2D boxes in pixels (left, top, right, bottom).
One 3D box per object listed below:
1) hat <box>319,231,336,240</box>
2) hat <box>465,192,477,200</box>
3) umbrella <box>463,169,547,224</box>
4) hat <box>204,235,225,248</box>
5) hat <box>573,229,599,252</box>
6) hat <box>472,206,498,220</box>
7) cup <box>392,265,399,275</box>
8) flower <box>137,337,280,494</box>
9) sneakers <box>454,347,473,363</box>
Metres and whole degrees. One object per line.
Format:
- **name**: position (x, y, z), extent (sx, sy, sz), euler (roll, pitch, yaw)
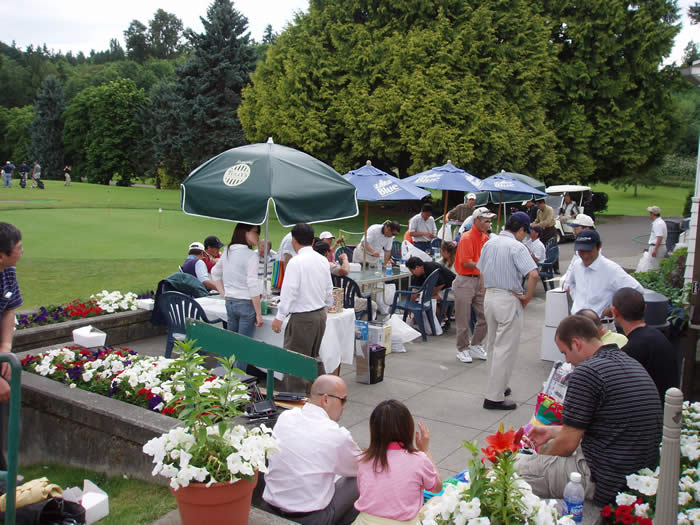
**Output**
- **hat**: position (-0.466, -0.506, 11.511), extent (0.287, 0.171, 0.407), euler (-2, 2, -27)
- **hat**: position (3.073, -1.707, 16.100), extent (0.337, 0.196, 0.483), euler (-1, 1, -8)
- **umbrella**: position (4.336, -1.457, 17.522), extent (2.093, 1.630, 2.000), euler (13, 25, 37)
- **hat**: position (-2.446, -0.381, 11.278), extent (0.281, 0.194, 0.208), euler (-1, 2, 37)
- **hat**: position (2.933, -0.273, 7.764), extent (0.276, 0.285, 0.484), euler (5, 9, 21)
- **hat**: position (2.018, -0.753, 9.522), extent (0.300, 0.174, 0.238), euler (-2, 0, 35)
- **cup**: position (0.897, 0.139, 12.292), extent (0.131, 0.161, 0.133), euler (0, 9, 0)
- **flower**: position (-1.017, 1.201, 4.532), extent (0.713, 1.213, 0.837), euler (2, 5, -44)
- **sneakers**: position (1.805, 1.464, 10.002), extent (0.125, 0.126, 0.302), euler (-1, -1, -16)
